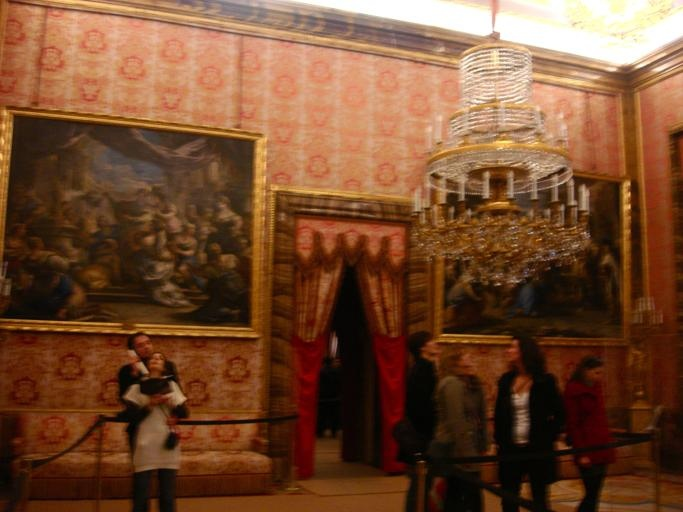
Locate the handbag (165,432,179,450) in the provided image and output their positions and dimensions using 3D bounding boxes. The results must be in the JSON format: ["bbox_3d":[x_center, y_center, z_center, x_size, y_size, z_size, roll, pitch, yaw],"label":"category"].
[{"bbox_3d":[-1.919,2.080,10.241,0.175,0.170,0.054,16,-6,5],"label":"handbag"}]

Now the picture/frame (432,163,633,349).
[{"bbox_3d":[2.708,0.117,13.401,4.437,2.383,0.178,1,-5,-7],"label":"picture/frame"}]
